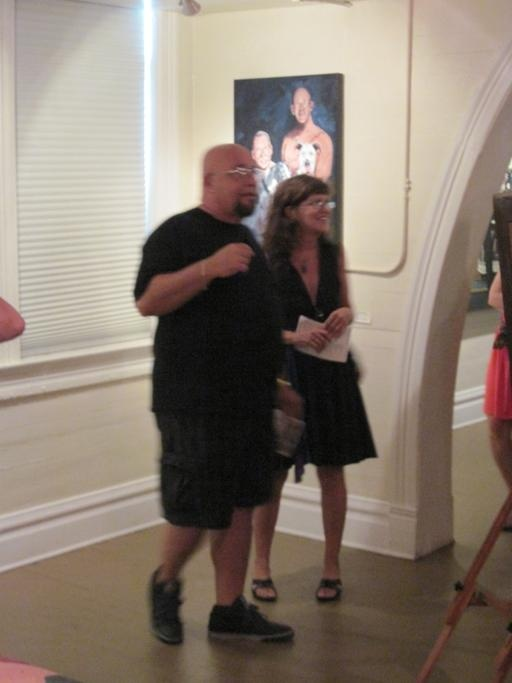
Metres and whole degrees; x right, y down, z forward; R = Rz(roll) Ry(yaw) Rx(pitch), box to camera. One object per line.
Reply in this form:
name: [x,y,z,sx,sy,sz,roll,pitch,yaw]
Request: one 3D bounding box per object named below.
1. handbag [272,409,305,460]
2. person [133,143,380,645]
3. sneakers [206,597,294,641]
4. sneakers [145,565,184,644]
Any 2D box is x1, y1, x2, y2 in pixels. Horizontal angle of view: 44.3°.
handbag: [0.069,0.212,1.397,0.040,0.131,0.064,-14,21,-38]
person: [-0.090,0.184,1.437,0.367,1.211,0.174,-2,16,-4]
sneakers: [-0.022,0.694,1.549,0.272,0.121,0.088,3,-7,-4]
sneakers: [-0.229,0.683,1.633,0.074,0.086,0.211,3,22,-12]
